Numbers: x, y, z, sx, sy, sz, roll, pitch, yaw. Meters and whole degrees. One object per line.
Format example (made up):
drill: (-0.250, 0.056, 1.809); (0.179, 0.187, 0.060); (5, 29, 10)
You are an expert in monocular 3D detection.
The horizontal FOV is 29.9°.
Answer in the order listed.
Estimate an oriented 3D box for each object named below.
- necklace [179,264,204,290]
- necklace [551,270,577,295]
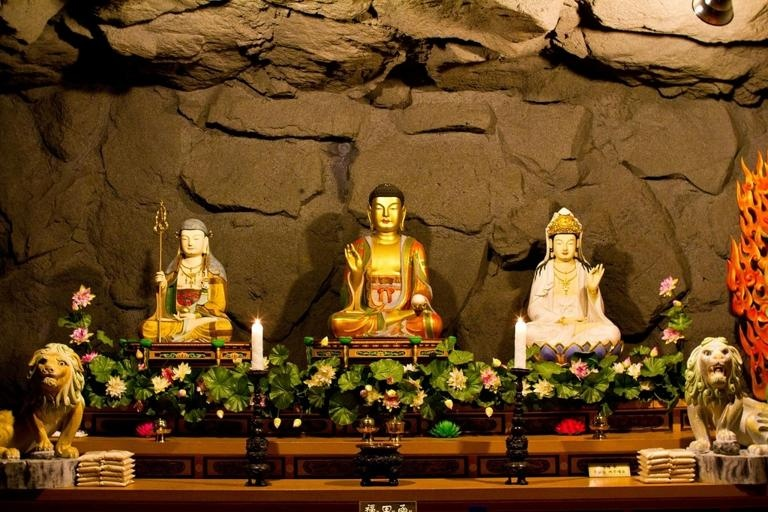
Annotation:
necklace: (-1.747, 0.196, 12.958); (0.254, 0.233, 0.057); (0, -3, 2)
necklace: (1.648, 0.237, 12.982); (0.213, 0.196, 0.063); (0, -8, 8)
